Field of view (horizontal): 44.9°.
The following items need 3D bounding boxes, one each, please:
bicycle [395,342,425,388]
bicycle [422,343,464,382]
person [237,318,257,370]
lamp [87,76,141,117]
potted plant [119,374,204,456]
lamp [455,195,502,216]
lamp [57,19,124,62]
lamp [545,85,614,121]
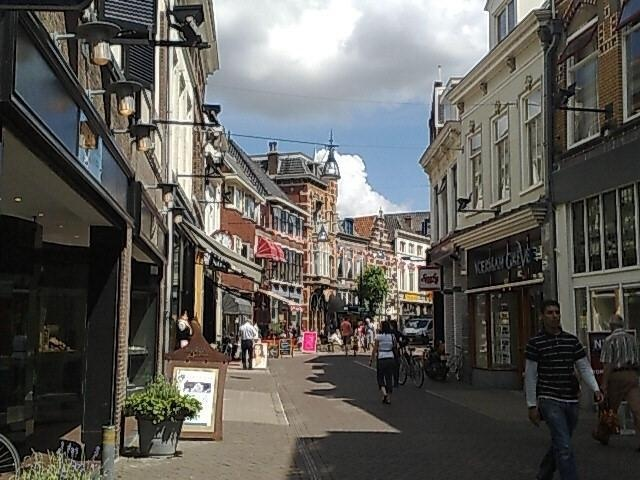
[{"bbox_3d":[2.783,3.741,22.910,0.698,1.074,1.568,2,-10,-16],"label":"bicycle"},{"bbox_3d":[4.062,3.924,25.453,1.239,1.214,3.317,-2,-4,8],"label":"bicycle"},{"bbox_3d":[-2.674,3.726,28.715,0.558,2.051,0.569,-1,23,-11],"label":"person"},{"bbox_3d":[-2.749,-1.869,10.237,0.815,0.456,0.485,-2,-2,23],"label":"lamp"},{"bbox_3d":[-2.487,2.664,11.928,0.865,1.095,0.983,-1,-7,1],"label":"potted plant"},{"bbox_3d":[4.463,-0.924,22.010,0.886,0.489,0.710,1,-4,7],"label":"lamp"},{"bbox_3d":[-2.567,-2.097,8.468,0.655,0.460,0.455,-6,-8,3],"label":"lamp"},{"bbox_3d":[5.853,-2.990,17.018,0.982,0.800,0.697,3,-4,-20],"label":"lamp"}]
